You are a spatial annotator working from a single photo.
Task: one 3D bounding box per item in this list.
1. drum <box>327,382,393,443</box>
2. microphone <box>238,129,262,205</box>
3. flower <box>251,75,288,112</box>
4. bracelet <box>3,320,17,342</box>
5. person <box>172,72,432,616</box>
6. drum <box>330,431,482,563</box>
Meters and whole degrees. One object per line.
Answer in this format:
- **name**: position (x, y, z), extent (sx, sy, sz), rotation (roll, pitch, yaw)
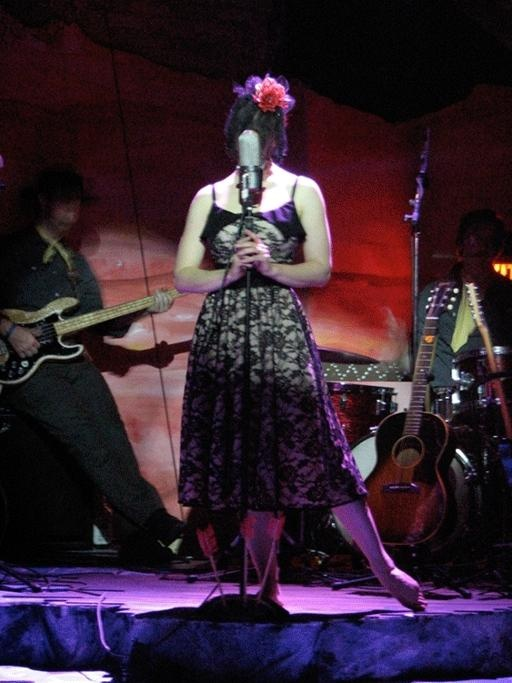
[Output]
- **drum**: position (0.454, 0.297, 2.819), extent (0.366, 0.198, 0.270), rotation (-4, -2, 15)
- **microphone**: position (-0.013, -0.424, 1.639), extent (0.062, 0.192, 0.067), rotation (-4, 11, 1)
- **flower**: position (0.039, -0.636, 1.722), extent (0.108, 0.090, 0.049), rotation (0, 3, -14)
- **bracelet**: position (-1.033, -0.046, 2.775), extent (0.068, 0.066, 0.019), rotation (6, 1, -4)
- **person**: position (0.050, 0.012, 1.715), extent (0.587, 1.414, 0.505), rotation (-6, 11, -10)
- **drum**: position (0.556, 0.540, 2.312), extent (0.494, 0.591, 0.166), rotation (1, -10, 16)
